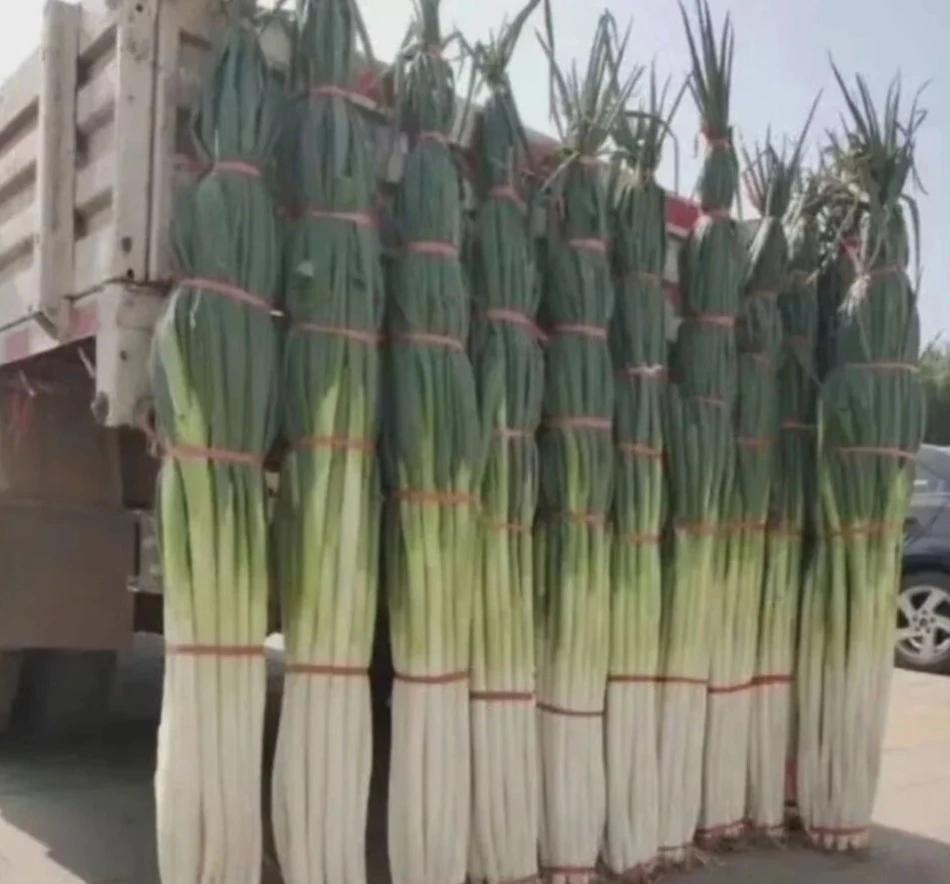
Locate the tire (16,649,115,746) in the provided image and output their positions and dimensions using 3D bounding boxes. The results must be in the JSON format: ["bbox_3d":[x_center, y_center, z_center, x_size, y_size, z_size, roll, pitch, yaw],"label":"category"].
[{"bbox_3d":[-2.102,1.263,5.801,0.080,0.422,0.373,-6,-10,32],"label":"tire"}]
